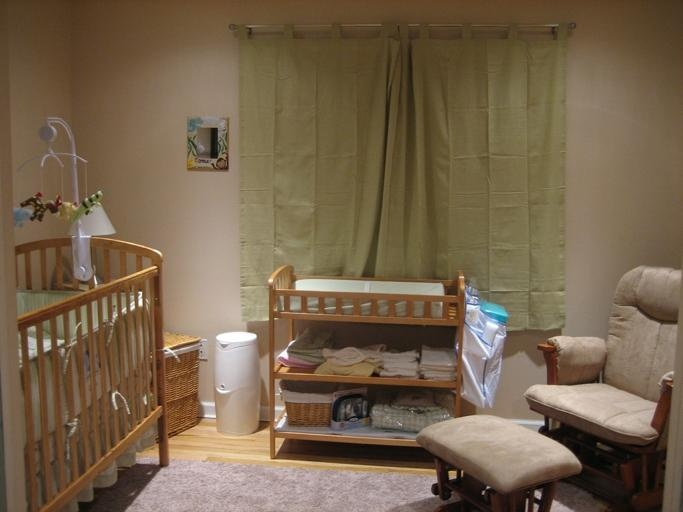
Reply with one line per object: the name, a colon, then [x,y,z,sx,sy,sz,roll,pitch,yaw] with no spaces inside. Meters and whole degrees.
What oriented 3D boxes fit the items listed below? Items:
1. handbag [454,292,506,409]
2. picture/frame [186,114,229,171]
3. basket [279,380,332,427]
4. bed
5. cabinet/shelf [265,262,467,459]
handbag: [0.798,0.519,3.495,0.320,0.776,0.653,1,4,8]
picture/frame: [-0.858,-0.755,3.941,0.349,0.437,0.036,1,6,5]
basket: [-0.190,0.885,3.674,0.227,0.168,0.303,1,-7,1]
bed: [-1.218,0.656,3.033,0.430,1.251,1.151,1,14,2]
cabinet/shelf: [0.173,0.625,3.575,1.099,1.090,0.617,1,3,9]
